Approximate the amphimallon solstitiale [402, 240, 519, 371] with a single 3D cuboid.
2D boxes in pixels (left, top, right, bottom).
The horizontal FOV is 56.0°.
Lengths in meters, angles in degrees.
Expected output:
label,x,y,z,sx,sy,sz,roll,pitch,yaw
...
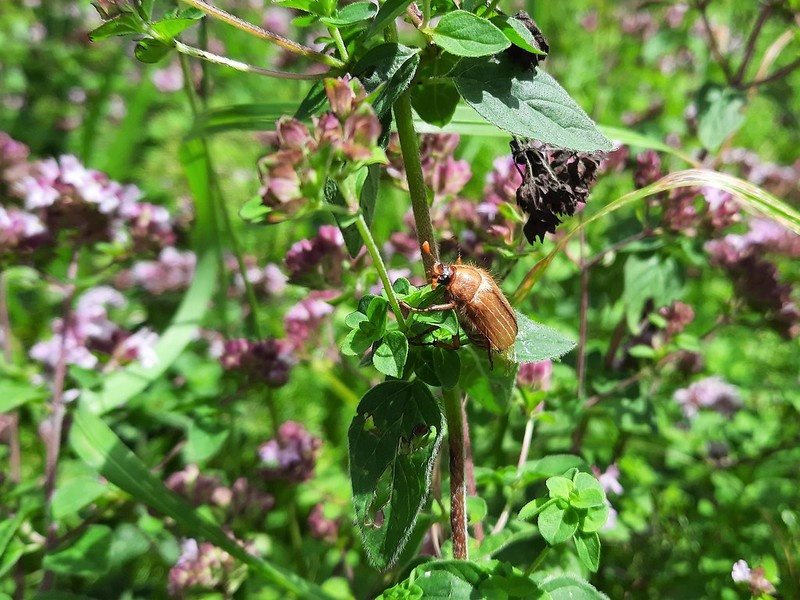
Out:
label,x,y,z,sx,sy,sz,roll,pitch,yaw
amphimallon solstitiale,0.199,-0.006,2.255,0.432,0.157,0.292,39,34,-27
